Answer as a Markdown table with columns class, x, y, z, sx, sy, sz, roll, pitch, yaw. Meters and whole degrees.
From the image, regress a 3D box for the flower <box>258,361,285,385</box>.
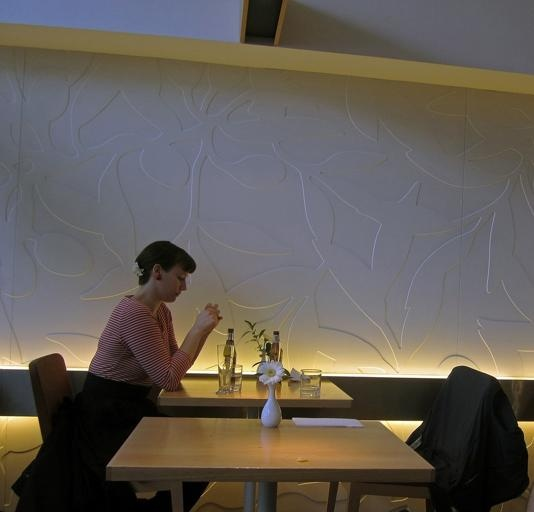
| class | x | y | z | sx | sy | sz | roll | pitch | yaw |
| --- | --- | --- | --- | --- | --- | --- | --- | --- | --- |
| flower | 0.011 | 0.472 | 2.139 | 0.091 | 0.090 | 0.251 | 1 | 2 | -5 |

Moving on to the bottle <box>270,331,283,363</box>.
| class | x | y | z | sx | sy | sz | roll | pitch | yaw |
| --- | --- | --- | --- | --- | --- | --- | --- | --- | --- |
| bottle | 0.045 | 0.456 | 2.750 | 0.050 | 0.152 | 0.142 | 1 | 2 | 1 |

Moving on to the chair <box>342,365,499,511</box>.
| class | x | y | z | sx | sy | sz | roll | pitch | yaw |
| --- | --- | --- | --- | --- | --- | --- | --- | --- | --- |
| chair | 0.686 | 0.784 | 2.503 | 0.633 | 0.911 | 0.630 | 3 | -3 | -4 |

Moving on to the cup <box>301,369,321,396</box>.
| class | x | y | z | sx | sy | sz | roll | pitch | yaw |
| --- | --- | --- | --- | --- | --- | --- | --- | --- | --- |
| cup | 0.193 | 0.562 | 2.417 | 0.092 | 0.118 | 0.095 | 1 | -1 | 0 |

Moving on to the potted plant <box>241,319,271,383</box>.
| class | x | y | z | sx | sy | sz | roll | pitch | yaw |
| --- | --- | --- | --- | --- | --- | --- | --- | --- | --- |
| potted plant | -0.024 | 0.484 | 2.850 | 0.166 | 0.294 | 0.150 | -10 | -4 | -4 |
